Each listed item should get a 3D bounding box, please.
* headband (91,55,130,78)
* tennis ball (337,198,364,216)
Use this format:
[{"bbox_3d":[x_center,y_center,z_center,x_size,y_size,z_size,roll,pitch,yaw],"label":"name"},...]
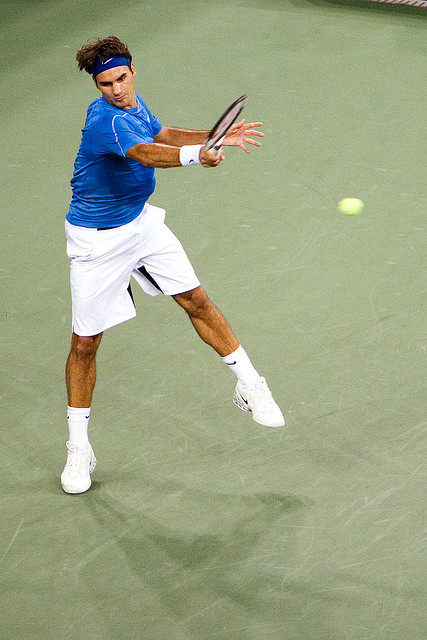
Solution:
[{"bbox_3d":[-0.366,-0.907,2.349,0.089,0.031,0.079,-25,16,-8],"label":"headband"},{"bbox_3d":[0.973,-0.806,4.682,0.177,0.090,0.208,7,25,33],"label":"tennis ball"}]
